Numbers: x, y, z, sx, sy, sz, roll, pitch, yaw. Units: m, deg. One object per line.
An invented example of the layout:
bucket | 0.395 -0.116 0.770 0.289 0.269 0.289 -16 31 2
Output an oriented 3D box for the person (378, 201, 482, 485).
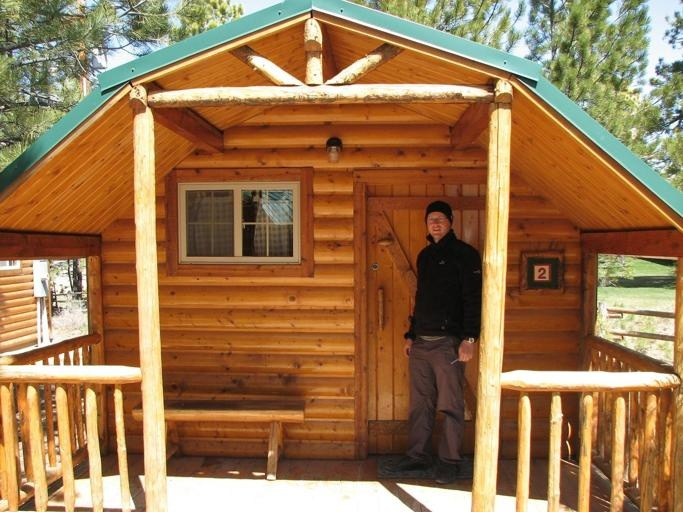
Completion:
person | 1.195 1.022 8.815 1.073 3.355 0.380 1 -3 31

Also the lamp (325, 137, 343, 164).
lamp | -0.090 -1.332 9.222 0.326 0.420 0.299 0 -3 1

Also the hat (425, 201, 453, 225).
hat | 1.194 -0.569 8.912 0.307 0.219 0.280 11 -29 17

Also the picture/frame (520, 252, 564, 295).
picture/frame | 2.542 0.208 9.210 0.633 0.533 0.057 0 0 1
